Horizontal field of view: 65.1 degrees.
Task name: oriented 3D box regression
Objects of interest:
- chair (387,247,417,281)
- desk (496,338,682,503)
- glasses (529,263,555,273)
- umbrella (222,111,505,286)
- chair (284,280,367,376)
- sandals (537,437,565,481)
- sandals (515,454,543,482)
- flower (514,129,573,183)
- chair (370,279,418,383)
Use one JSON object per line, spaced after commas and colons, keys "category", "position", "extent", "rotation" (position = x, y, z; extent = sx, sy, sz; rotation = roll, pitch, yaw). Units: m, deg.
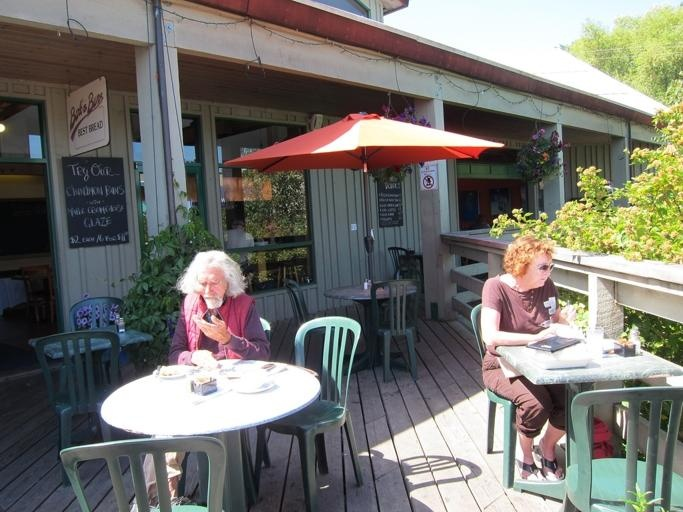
{"category": "chair", "position": [1.008, 0.125, 8.768], "extent": [0.451, 0.714, 0.531], "rotation": [-1, 2, 18]}
{"category": "desk", "position": [1.347, 0.801, 3.079], "extent": [0.702, 0.760, 0.750], "rotation": [-1, 10, -2]}
{"category": "glasses", "position": [1.268, 0.074, 3.359], "extent": [0.090, 0.061, 0.019], "rotation": [-5, 6, -9]}
{"category": "umbrella", "position": [0.241, -0.581, 5.457], "extent": [2.442, 1.759, 1.924], "rotation": [-2, 7, 16]}
{"category": "chair", "position": [-0.214, 0.672, 6.040], "extent": [0.932, 1.424, 0.828], "rotation": [-3, 2, 5]}
{"category": "sandals", "position": [1.314, 1.343, 3.436], "extent": [0.115, 0.315, 0.082], "rotation": [-3, -30, -19]}
{"category": "sandals", "position": [1.190, 1.372, 3.424], "extent": [0.069, 0.053, 0.185], "rotation": [-9, 28, -8]}
{"category": "flower", "position": [3.243, -1.642, 8.706], "extent": [0.774, 0.870, 0.540], "rotation": [-7, 7, -29]}
{"category": "chair", "position": [0.542, 0.716, 5.258], "extent": [0.379, 0.990, 0.402], "rotation": [-3, -1, -3]}
